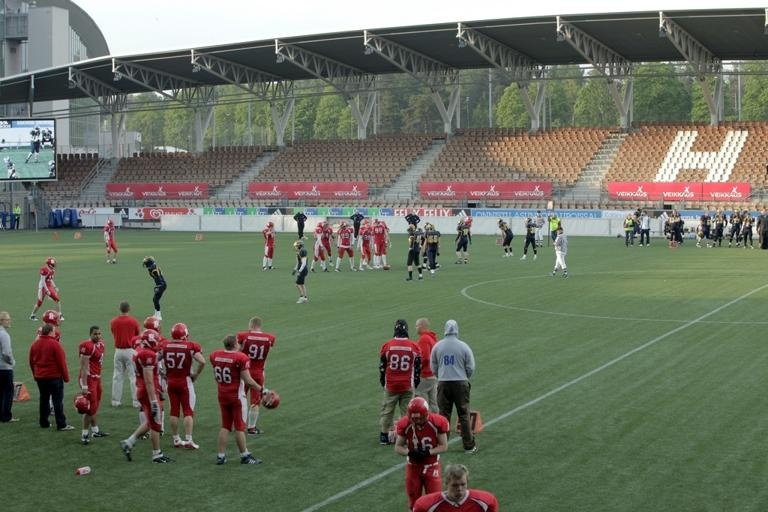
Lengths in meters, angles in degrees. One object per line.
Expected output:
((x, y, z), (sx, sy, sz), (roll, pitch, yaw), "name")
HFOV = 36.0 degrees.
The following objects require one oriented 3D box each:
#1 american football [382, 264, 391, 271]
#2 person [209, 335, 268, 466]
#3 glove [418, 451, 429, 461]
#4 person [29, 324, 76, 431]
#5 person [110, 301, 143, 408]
((0.144, 0.628, 60.476), (0.330, 0.216, 0.232), (2, 15, 5), "american football")
((-5.038, 4.803, 39.846), (1.509, 4.269, 0.908), (0, 3, -9), "person")
((1.265, 6.280, 37.445), (0.335, 0.289, 0.024), (0, 3, -5), "glove")
((-11.642, 4.191, 41.193), (1.369, 3.559, 0.984), (1, 4, 19), "person")
((-9.253, 3.498, 42.289), (1.250, 3.717, 0.994), (7, -5, -32), "person")
